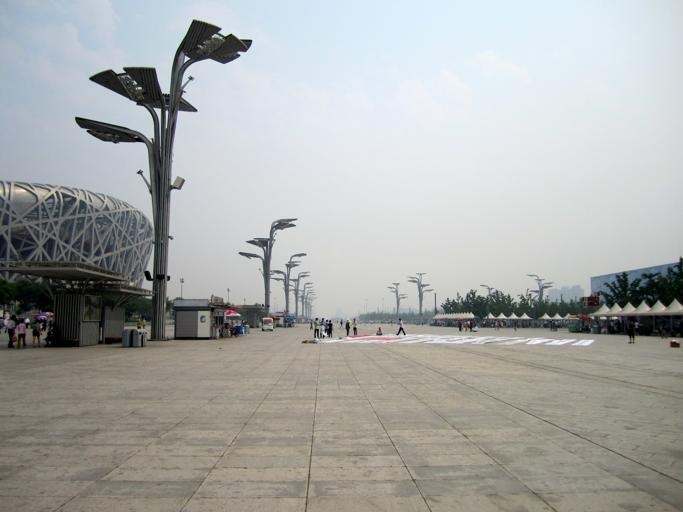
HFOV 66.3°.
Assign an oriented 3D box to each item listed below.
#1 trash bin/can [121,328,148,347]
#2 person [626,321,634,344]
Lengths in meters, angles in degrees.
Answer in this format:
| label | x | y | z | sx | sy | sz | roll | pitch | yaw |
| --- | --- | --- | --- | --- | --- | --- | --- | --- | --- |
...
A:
| label | x | y | z | sx | sy | sz | roll | pitch | yaw |
| --- | --- | --- | --- | --- | --- | --- | --- | --- | --- |
| trash bin/can | -11.991 | 4.671 | 30.037 | 0.895 | 1.078 | 1.698 | -4 | -9 | 10 |
| person | 20.378 | 5.245 | 36.660 | 0.348 | 1.618 | 2.613 | -6 | -10 | 27 |
